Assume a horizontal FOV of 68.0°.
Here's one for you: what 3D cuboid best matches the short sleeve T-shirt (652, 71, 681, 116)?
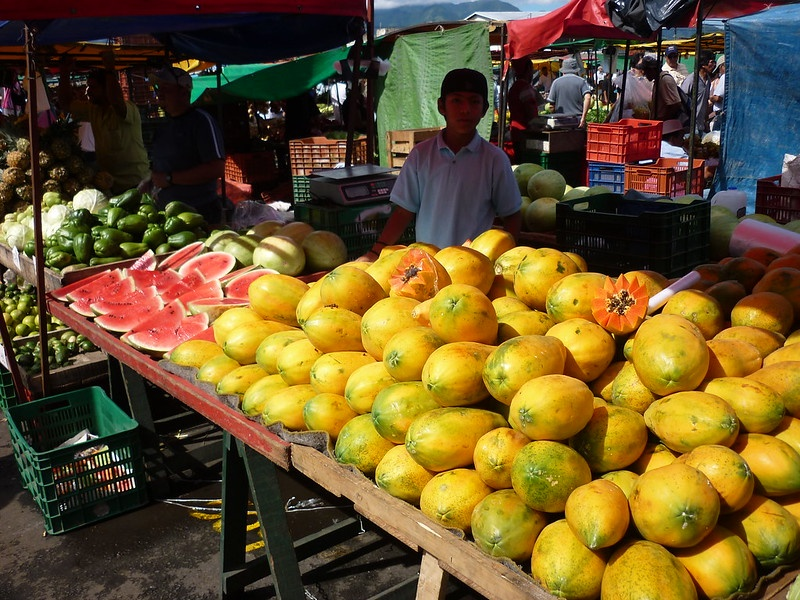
[{"bbox_3d":[4.509,-3.515,10.174,0.300,0.732,0.636,-11,41,22],"label":"short sleeve T-shirt"}]

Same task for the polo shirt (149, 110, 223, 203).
[{"bbox_3d":[-2.178,-1.462,6.169,1.078,1.005,0.576,5,11,34],"label":"polo shirt"}]

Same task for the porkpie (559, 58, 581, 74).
[{"bbox_3d":[4.177,-5.744,14.659,0.576,0.322,0.618,-3,33,16],"label":"porkpie"}]

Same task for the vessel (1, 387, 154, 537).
[{"bbox_3d":[-2.458,1.080,4.565,0.803,0.669,1.191,-12,27,-40],"label":"vessel"}]

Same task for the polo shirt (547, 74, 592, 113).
[{"bbox_3d":[3.639,-4.427,12.917,0.887,0.844,0.493,2,17,14],"label":"polo shirt"}]

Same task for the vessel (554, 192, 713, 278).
[{"bbox_3d":[1.390,-0.386,3.365,0.640,0.380,0.638,-13,18,-37],"label":"vessel"}]

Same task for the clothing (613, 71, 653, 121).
[{"bbox_3d":[4.709,-4.139,11.785,0.413,0.818,0.838,-34,37,-28],"label":"clothing"}]
